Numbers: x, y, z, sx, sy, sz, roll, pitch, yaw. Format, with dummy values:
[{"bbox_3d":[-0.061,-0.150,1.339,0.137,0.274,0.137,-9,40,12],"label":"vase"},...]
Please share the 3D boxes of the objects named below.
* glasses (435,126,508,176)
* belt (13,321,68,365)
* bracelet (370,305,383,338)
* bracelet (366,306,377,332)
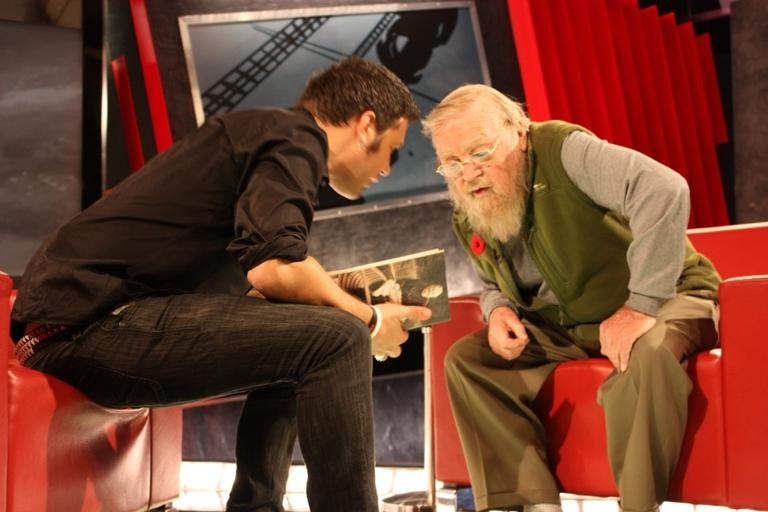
[{"bbox_3d":[0.312,-0.385,2.732,0.157,0.051,0.165,-19,23,52],"label":"glasses"},{"bbox_3d":[-1.064,0.260,2.226,0.164,0.058,0.138,-40,12,-33],"label":"belt"},{"bbox_3d":[-0.017,0.217,2.306,0.030,0.080,0.070,0,-4,2],"label":"bracelet"},{"bbox_3d":[-0.033,0.197,2.273,0.023,0.061,0.045,-1,-10,-10],"label":"bracelet"}]
